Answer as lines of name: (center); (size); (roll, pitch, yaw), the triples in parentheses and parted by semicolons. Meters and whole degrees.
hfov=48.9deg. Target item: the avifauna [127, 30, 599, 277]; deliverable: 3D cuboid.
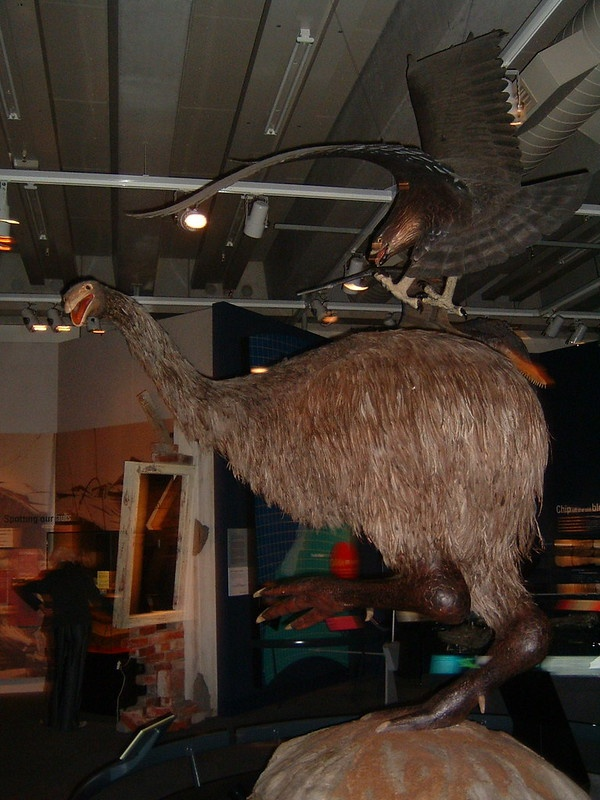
avifauna: (0.440, -0.728, 2.230); (1.063, 0.461, 1.170); (-5, 8, -21)
